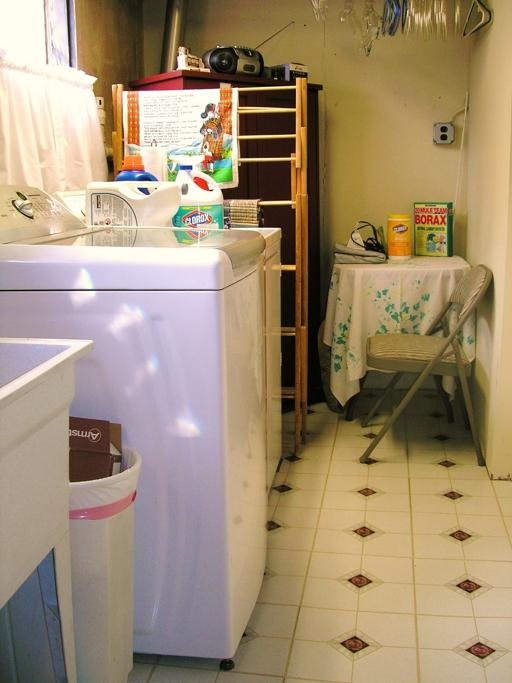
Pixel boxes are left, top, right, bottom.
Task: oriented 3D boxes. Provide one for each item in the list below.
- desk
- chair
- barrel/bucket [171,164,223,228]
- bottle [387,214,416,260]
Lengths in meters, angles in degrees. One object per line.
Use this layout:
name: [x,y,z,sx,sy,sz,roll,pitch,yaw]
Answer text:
desk: [0.857,-0.165,3.373,0.877,0.906,0.647,-4,29,-1]
chair: [0.886,0.070,2.892,0.597,0.955,0.827,2,10,14]
barrel/bucket: [-0.180,-0.455,1.699,0.205,0.244,0.138,2,9,-10]
bottle: [0.903,-0.655,3.387,0.133,0.274,0.104,0,10,5]
